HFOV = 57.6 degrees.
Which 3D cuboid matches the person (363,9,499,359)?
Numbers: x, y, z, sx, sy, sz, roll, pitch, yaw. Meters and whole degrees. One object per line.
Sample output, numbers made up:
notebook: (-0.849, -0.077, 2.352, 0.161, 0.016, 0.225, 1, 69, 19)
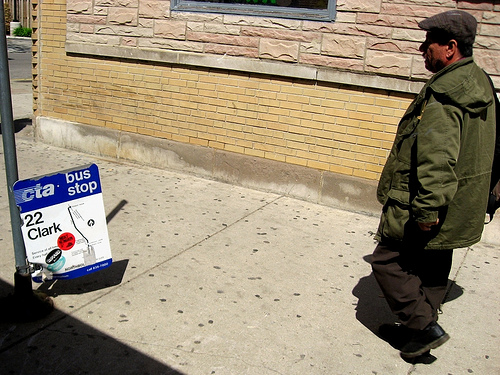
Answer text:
person: (1.439, 0.037, 3.547, 0.818, 2.674, 0.736, 10, 19, 12)
